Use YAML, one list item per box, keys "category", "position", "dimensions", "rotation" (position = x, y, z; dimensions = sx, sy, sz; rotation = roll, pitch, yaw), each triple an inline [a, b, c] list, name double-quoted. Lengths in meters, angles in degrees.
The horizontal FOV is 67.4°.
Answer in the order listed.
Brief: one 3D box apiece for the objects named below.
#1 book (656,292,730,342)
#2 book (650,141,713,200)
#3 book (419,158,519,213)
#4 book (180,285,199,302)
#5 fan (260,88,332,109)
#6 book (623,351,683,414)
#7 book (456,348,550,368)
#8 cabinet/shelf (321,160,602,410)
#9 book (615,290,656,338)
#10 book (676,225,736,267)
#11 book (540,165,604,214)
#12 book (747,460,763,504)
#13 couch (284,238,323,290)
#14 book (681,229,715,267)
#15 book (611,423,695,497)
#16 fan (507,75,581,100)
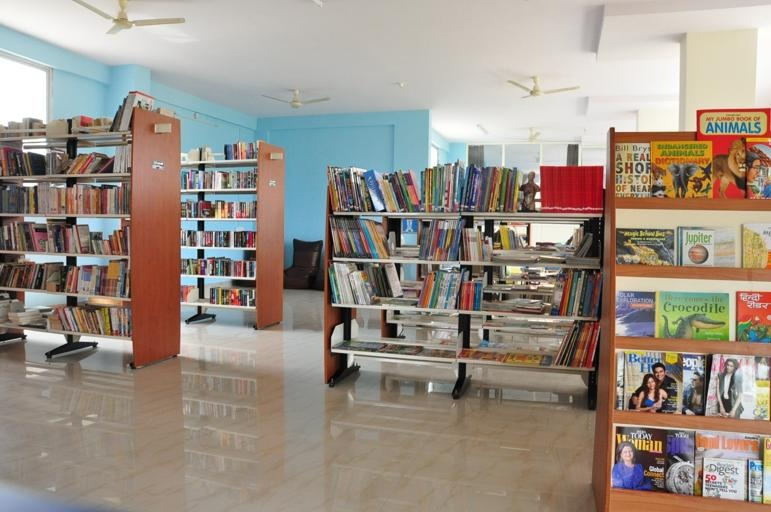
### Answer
- category: "book"
  position: [2.080, 0.423, 3.872]
  dimensions: [0.389, 0.245, 0.039]
  rotation: [1, 1, 12]
- category: "book"
  position: [2.040, -0.566, 3.947]
  dimensions: [0.484, 0.416, 0.050]
  rotation: [0, -2, 5]
- category: "book"
  position: [0.830, -0.657, 5.704]
  dimensions: [0.977, 0.496, 0.223]
  rotation: [3, 13, 8]
- category: "book"
  position: [-2.860, 0.566, 8.580]
  dimensions: [0.239, 0.272, 0.309]
  rotation: [0, 1, 25]
- category: "fan"
  position: [-1.726, -3.070, 11.417]
  dimensions: [1.270, 0.324, 1.695]
  rotation: [-6, 14, -32]
- category: "book"
  position: [1.825, 0.867, 3.903]
  dimensions: [0.502, 0.518, 0.044]
  rotation: [1, 1, 12]
- category: "book"
  position: [1.180, 1.023, 5.700]
  dimensions: [0.892, 0.050, 0.347]
  rotation: [3, 12, 10]
- category: "cabinet/shelf"
  position: [0.775, 0.393, 5.985]
  dimensions: [3.047, 2.271, 1.414]
  rotation: [2, 7, 16]
- category: "book"
  position: [1.706, 0.410, 3.917]
  dimensions: [0.377, 0.374, 0.056]
  rotation: [0, -1, 17]
- category: "book"
  position: [2.169, -0.052, 3.879]
  dimensions: [0.320, 0.245, 0.097]
  rotation: [1, 2, 11]
- category: "book"
  position: [1.755, -0.598, 5.390]
  dimensions: [0.529, 0.336, 0.034]
  rotation: [1, 2, 7]
- category: "book"
  position: [2.459, 1.521, 3.842]
  dimensions: [0.087, 0.276, 0.079]
  rotation: [1, 13, 0]
- category: "couch"
  position: [-1.738, 0.249, 12.647]
  dimensions: [0.957, 1.173, 1.102]
  rotation: [-4, -8, 24]
- category: "book"
  position: [2.111, -0.041, 3.884]
  dimensions: [0.284, 0.325, 0.039]
  rotation: [2, 2, 17]
- category: "book"
  position: [1.838, 1.398, 3.916]
  dimensions: [0.602, 0.445, 0.182]
  rotation: [1, -1, 10]
- category: "fan"
  position: [2.665, -2.916, 10.096]
  dimensions: [0.840, 0.171, 0.717]
  rotation: [-4, 8, -34]
